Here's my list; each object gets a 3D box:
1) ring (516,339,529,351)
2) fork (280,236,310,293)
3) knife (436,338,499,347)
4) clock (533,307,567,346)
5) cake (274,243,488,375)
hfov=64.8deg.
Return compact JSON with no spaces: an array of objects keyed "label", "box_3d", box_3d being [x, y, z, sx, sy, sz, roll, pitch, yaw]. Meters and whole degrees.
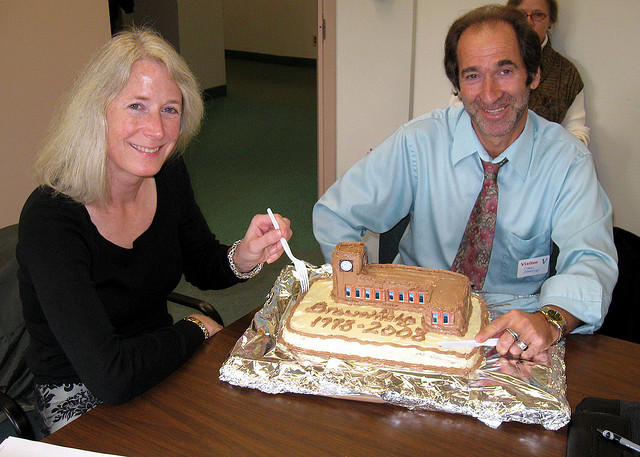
[{"label":"ring","box_3d":[0.671,0.388,1.667,0.028,0.008,0.028,4,53,-5]},{"label":"fork","box_3d":[-0.135,0.193,2.768,0.038,0.302,0.034,-16,1,12]},{"label":"knife","box_3d":[0.491,0.381,1.680,0.151,0.023,0.014,-4,58,1]},{"label":"clock","box_3d":[0.833,0.332,1.779,0.085,0.116,0.112,-9,59,-53]},{"label":"cake","box_3d":[0.229,0.317,1.769,0.578,0.208,0.430,7,35,16]}]
